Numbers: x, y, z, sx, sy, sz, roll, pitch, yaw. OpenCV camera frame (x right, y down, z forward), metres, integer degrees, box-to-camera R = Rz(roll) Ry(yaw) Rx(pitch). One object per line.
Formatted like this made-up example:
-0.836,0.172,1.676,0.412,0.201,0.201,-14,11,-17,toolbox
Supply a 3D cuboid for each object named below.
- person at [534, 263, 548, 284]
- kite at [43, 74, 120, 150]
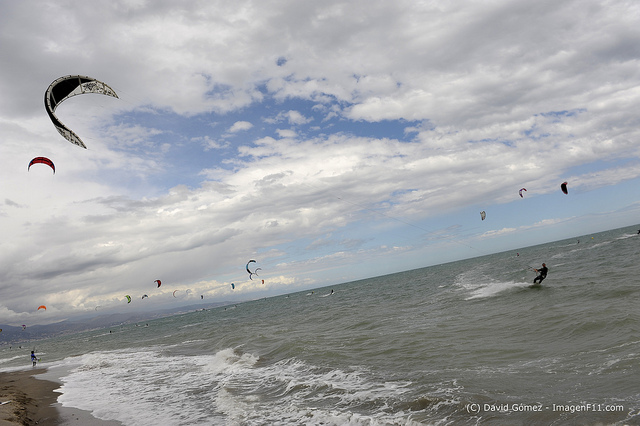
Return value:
17.108,4.651,38.913,0.993,1.532,1.618,-10,0,16,person
-12.839,-5.374,26.799,2.846,4.089,1.289,-11,0,-21,kite
